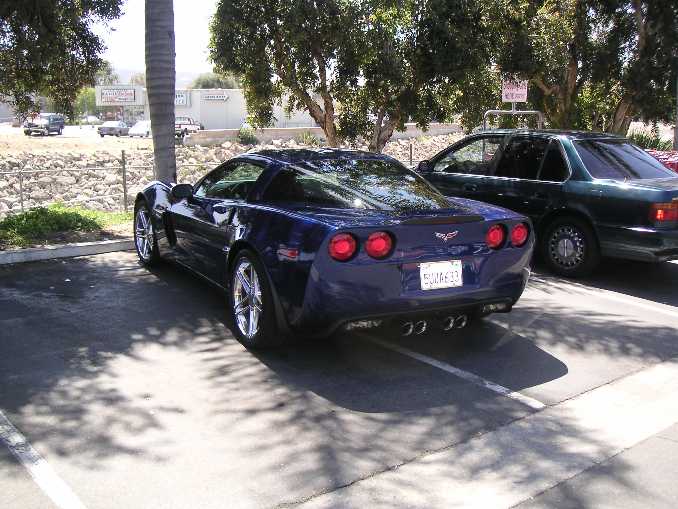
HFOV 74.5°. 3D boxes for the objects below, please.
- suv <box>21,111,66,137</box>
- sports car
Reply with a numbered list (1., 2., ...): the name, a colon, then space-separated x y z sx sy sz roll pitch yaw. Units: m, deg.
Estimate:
1. suv: -36.677 -15.743 54.411 2.224 2.764 4.830 3 14 11
2. sports car: -0.644 -0.250 4.984 2.074 1.210 3.919 -5 15 -33
